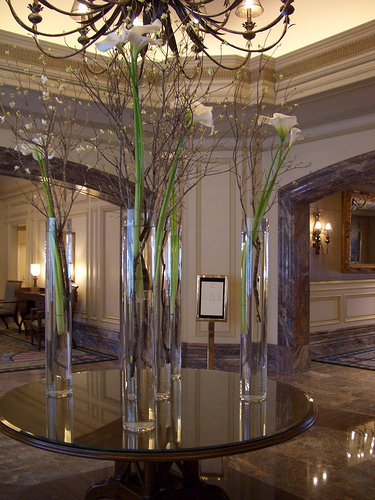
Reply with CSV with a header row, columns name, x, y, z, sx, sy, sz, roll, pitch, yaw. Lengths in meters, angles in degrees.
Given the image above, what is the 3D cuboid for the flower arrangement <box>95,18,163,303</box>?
name,x,y,z,sx,sy,sz,roll,pitch,yaw
flower arrangement,-0.158,-0.299,1.141,0.160,0.880,0.501,1,-7,-4

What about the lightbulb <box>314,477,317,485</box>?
name,x,y,z,sx,sy,sz,roll,pitch,yaw
lightbulb,0.711,1.289,2.307,0.017,0.031,0.019,-2,-4,20

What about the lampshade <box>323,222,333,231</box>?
name,x,y,z,sx,sy,sz,roll,pitch,yaw
lampshade,2.526,-0.414,7.457,0.135,0.165,0.138,-2,2,24

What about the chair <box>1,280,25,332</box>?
name,x,y,z,sx,sy,sz,roll,pitch,yaw
chair,-3.907,1.213,9.216,0.389,1.073,0.873,4,-8,-24

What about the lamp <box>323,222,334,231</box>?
name,x,y,z,sx,sy,sz,roll,pitch,yaw
lamp,2.528,-0.409,7.440,0.162,0.297,0.134,0,-4,14

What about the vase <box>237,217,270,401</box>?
name,x,y,z,sx,sy,sz,roll,pitch,yaw
vase,0.252,0.226,1.577,0.129,0.673,0.313,0,-7,8

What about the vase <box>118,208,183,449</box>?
name,x,y,z,sx,sy,sz,roll,pitch,yaw
vase,-0.115,0.178,1.327,0.212,0.720,0.556,1,-8,0

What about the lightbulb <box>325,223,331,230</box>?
name,x,y,z,sx,sy,sz,roll,pitch,yaw
lightbulb,2.510,-0.413,7.423,0.124,0.135,0.041,8,-10,-42

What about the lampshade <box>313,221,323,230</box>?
name,x,y,z,sx,sy,sz,roll,pitch,yaw
lampshade,2.268,-0.421,7.220,0.138,0.143,0.032,20,-10,-42

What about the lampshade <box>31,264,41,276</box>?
name,x,y,z,sx,sy,sz,roll,pitch,yaw
lampshade,-3.263,0.459,8.988,0.198,0.246,0.206,0,1,-7

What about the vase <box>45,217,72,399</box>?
name,x,y,z,sx,sy,sz,roll,pitch,yaw
vase,-0.470,0.217,1.526,0.116,0.649,0.245,3,-7,-16
